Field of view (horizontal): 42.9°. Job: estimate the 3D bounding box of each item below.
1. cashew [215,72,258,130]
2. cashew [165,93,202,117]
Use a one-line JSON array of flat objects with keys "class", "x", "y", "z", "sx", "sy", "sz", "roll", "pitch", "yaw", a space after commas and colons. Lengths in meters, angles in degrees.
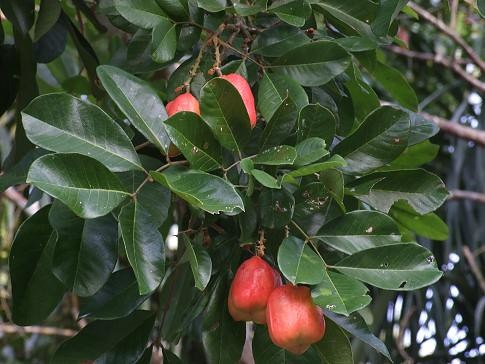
[{"class": "cashew", "x": -0.002, "y": -0.184, "z": 1.306, "sx": 0.057, "sy": 0.123, "sz": 0.061, "roll": -28, "pitch": -2, "yaw": 20}, {"class": "cashew", "x": -0.121, "y": -0.165, "z": 1.294, "sx": 0.052, "sy": 0.063, "sz": 0.057, "roll": 25, "pitch": 18, "yaw": 14}]
